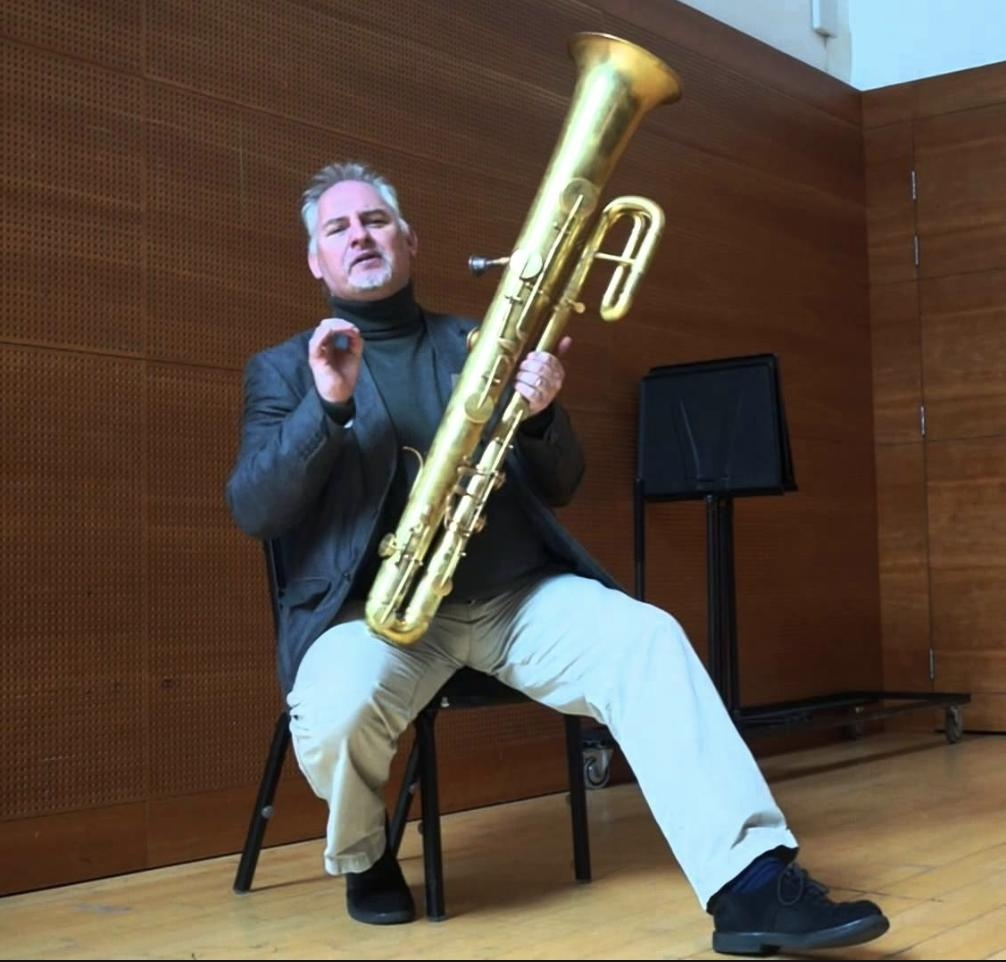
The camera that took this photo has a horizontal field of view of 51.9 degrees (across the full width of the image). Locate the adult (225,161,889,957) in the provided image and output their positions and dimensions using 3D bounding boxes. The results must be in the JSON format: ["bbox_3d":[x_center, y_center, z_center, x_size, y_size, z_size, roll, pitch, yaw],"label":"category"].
[{"bbox_3d":[0.165,0.057,2.461,1.528,1.766,0.924,-1,4,43],"label":"adult"}]

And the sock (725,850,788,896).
[{"bbox_3d":[0.395,0.607,1.603,0.092,0.022,0.056,-38,1,-2],"label":"sock"}]

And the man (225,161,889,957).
[{"bbox_3d":[0.169,0.063,2.456,1.528,1.766,0.924,-1,4,43],"label":"man"}]
